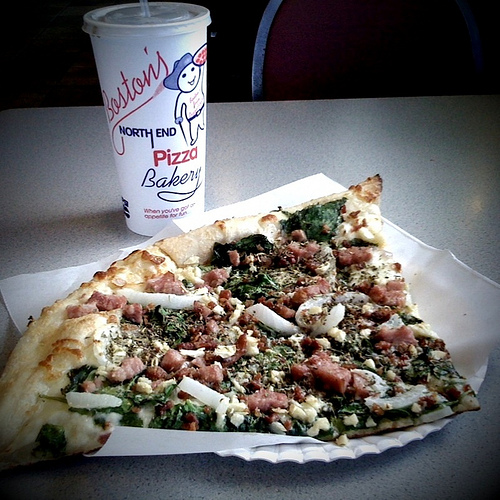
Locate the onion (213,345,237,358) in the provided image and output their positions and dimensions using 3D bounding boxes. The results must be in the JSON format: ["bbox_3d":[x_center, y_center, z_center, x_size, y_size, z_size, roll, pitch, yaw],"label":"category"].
[{"bbox_3d":[-0.065,0.250,1.222,0.041,0.009,0.032,1,20,1],"label":"onion"}]

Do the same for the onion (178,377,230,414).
[{"bbox_3d":[-0.098,0.324,1.105,0.126,0.039,0.051,18,37,24],"label":"onion"}]

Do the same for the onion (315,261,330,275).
[{"bbox_3d":[0.229,0.062,1.551,0.034,0.020,0.040,-26,-6,13],"label":"onion"}]

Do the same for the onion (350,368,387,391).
[{"bbox_3d":[0.289,0.316,1.195,0.066,0.013,0.056,9,15,3],"label":"onion"}]
